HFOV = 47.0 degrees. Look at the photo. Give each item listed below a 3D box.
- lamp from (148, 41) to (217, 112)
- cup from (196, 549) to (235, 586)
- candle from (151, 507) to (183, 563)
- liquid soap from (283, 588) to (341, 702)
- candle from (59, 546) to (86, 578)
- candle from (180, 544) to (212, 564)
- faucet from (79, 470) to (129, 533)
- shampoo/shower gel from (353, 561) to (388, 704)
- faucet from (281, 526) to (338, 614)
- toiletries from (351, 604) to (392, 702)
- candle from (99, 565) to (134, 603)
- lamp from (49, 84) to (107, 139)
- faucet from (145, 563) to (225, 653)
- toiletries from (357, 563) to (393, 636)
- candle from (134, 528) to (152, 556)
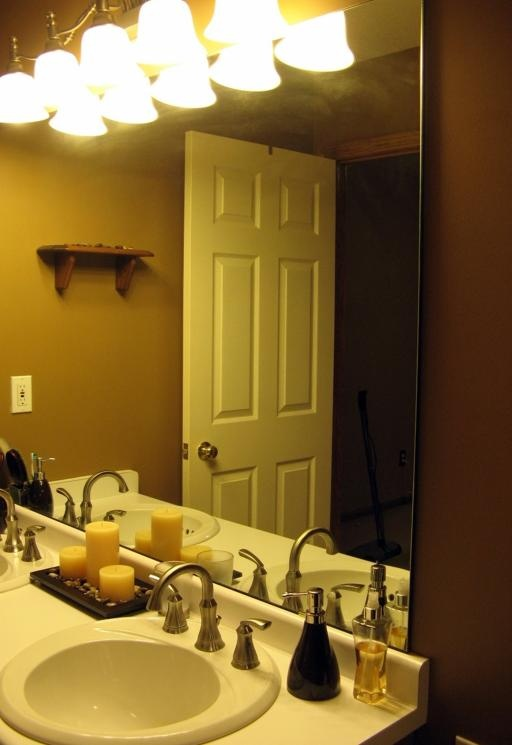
[{"bbox_3d":[-0.146,-0.594,1.238,0.029,0.149,0.126,-6,24,-38],"label":"lamp"},{"bbox_3d":[-0.074,0.367,1.122,0.046,0.071,0.060,0,-7,-15],"label":"cup"},{"bbox_3d":[-0.197,0.352,1.283,0.056,0.120,0.064,5,-8,-11],"label":"candle"},{"bbox_3d":[0.088,0.377,0.839,0.078,0.157,0.062,1,-1,-34],"label":"liquid soap"},{"bbox_3d":[-0.399,0.412,1.309,0.047,0.069,0.054,4,7,-4],"label":"candle"},{"bbox_3d":[-0.117,0.354,1.188,0.046,0.049,0.047,2,-1,-39],"label":"candle"},{"bbox_3d":[-0.385,0.333,1.507,0.122,0.060,0.180,-2,38,-13],"label":"faucet"},{"bbox_3d":[0.162,0.368,0.822,0.046,0.179,0.049,0,4,-16],"label":"shampoo/shower gel"},{"bbox_3d":[0.090,0.332,1.000,0.089,0.182,0.045,-7,33,-10],"label":"faucet"},{"bbox_3d":[0.161,0.388,0.831,0.046,0.136,0.068,0,-1,13],"label":"toiletries"},{"bbox_3d":[-0.274,0.411,1.168,0.054,0.049,0.054,1,-3,45],"label":"candle"},{"bbox_3d":[-0.455,-0.665,1.539,0.116,0.150,0.034,6,6,25],"label":"lamp"},{"bbox_3d":[-0.102,0.366,0.923,0.113,0.177,0.057,-8,28,-15],"label":"faucet"},{"bbox_3d":[0.173,0.323,0.843,0.036,0.105,0.038,-11,17,-36],"label":"toiletries"},{"bbox_3d":[-0.248,0.380,1.322,0.039,0.056,0.043,5,-6,-32],"label":"candle"}]
